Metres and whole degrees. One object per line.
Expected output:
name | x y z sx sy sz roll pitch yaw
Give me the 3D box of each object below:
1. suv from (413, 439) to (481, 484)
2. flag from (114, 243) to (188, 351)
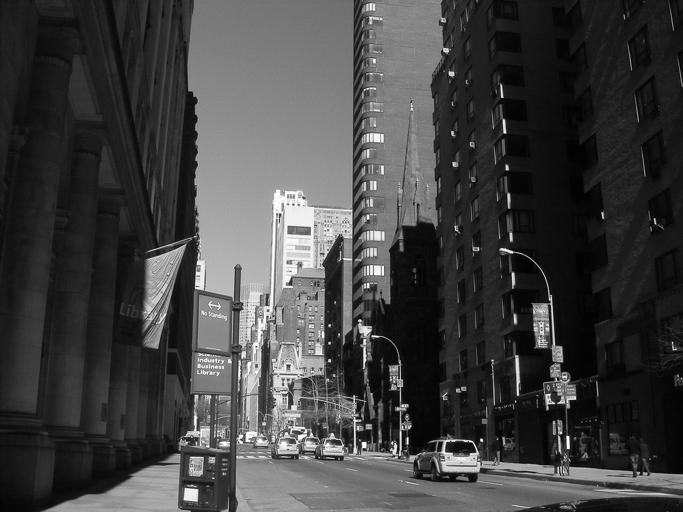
suv | 5.028 9.950 37.562 1.688 1.772 3.381 5 -19 -8
flag | -8.467 1.601 33.884 2.401 4.767 1.706 6 -17 -17
